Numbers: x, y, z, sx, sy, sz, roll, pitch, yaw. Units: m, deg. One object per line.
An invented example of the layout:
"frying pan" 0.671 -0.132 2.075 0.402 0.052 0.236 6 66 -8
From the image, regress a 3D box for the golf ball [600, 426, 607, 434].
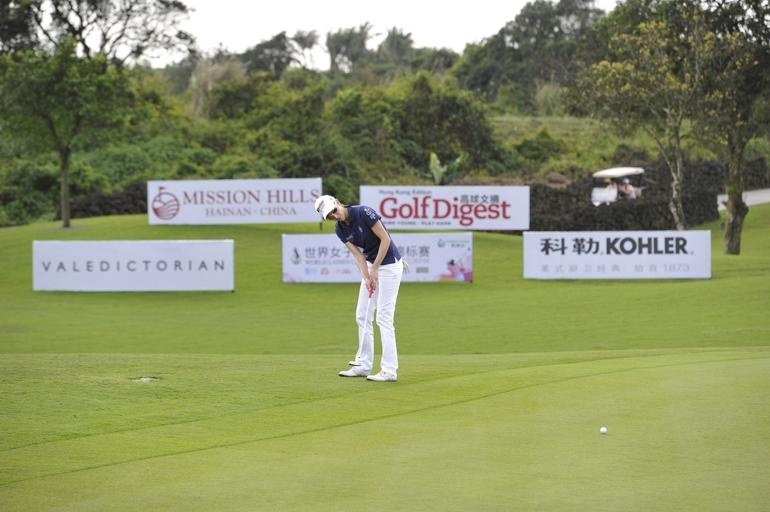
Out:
"golf ball" 6.690 5.322 42.353 0.179 0.188 0.076 -6 -18 13

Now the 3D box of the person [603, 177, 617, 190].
"person" 11.688 -3.700 71.634 0.627 0.509 0.767 5 14 0

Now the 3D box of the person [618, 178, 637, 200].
"person" 12.550 -3.396 71.887 0.915 1.190 0.532 -8 9 -27
